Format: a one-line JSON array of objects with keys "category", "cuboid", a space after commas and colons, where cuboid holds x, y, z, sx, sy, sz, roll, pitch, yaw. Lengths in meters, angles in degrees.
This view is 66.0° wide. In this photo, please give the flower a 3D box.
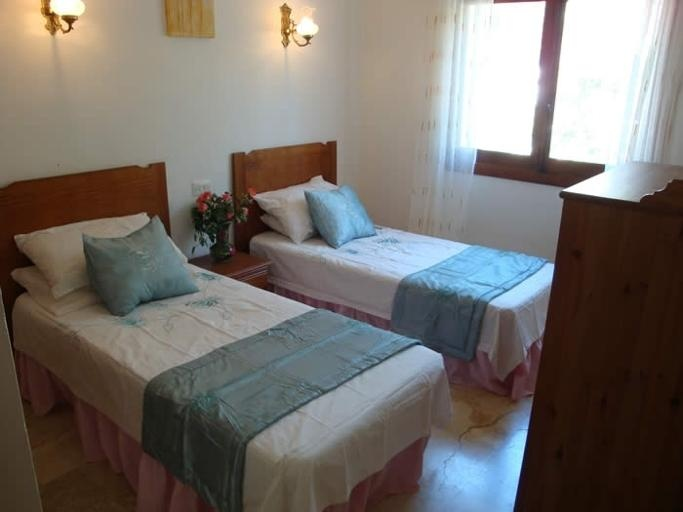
[{"category": "flower", "cuboid": [-0.859, -0.262, 3.883, 0.392, 0.498, 0.439, 17, 21, 42]}]

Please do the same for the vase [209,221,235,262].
[{"category": "vase", "cuboid": [-0.869, -0.116, 3.813, 0.174, 0.323, 0.178, 6, 19, 4]}]

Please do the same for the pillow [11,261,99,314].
[{"category": "pillow", "cuboid": [-1.650, 0.249, 3.084, 0.489, 0.131, 0.529, 15, -11, 44]}]

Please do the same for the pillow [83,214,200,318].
[{"category": "pillow", "cuboid": [-1.169, 0.054, 3.065, 0.323, 0.417, 0.539, 17, 27, 41]}]

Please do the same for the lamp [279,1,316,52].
[{"category": "lamp", "cuboid": [-0.349, -1.844, 4.208, 0.275, 0.334, 0.371, -3, 20, -5]}]
